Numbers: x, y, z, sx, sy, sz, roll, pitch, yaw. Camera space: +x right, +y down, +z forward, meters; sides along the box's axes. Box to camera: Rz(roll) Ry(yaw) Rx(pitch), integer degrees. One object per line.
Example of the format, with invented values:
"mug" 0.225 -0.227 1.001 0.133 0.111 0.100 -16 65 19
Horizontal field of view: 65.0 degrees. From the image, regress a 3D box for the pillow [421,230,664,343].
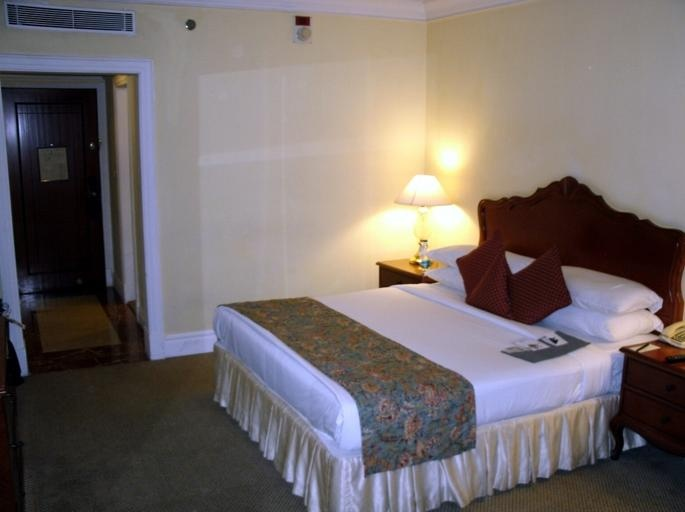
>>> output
"pillow" 1.540 0.228 4.517 0.585 0.395 1.997 -11 19 -39
